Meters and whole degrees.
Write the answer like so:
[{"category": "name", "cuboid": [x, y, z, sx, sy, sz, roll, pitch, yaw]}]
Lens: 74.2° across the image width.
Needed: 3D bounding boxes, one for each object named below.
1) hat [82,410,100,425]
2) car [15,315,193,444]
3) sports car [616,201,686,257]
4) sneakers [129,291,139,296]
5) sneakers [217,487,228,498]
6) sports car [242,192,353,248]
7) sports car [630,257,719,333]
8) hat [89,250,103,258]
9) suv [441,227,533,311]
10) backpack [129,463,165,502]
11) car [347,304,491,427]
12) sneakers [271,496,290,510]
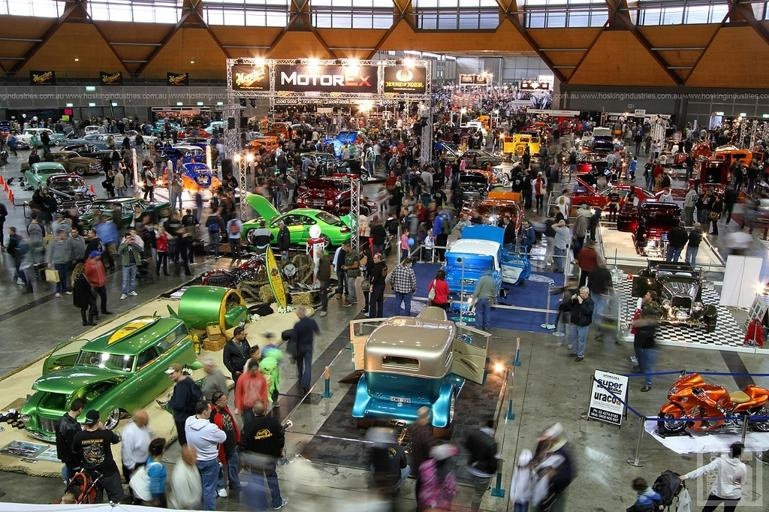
[{"category": "hat", "cuboid": [-4.794, 2.630, 8.330, 0.174, 0.233, 0.166, -3, 8, -33]}, {"category": "car", "cuboid": [-5.609, 2.396, 11.283, 2.006, 1.482, 3.731, 7, 20, 14]}, {"category": "sports car", "cuboid": [11.548, -1.515, 21.591, 2.001, 1.538, 3.489, 8, 22, 20]}, {"category": "sneakers", "cuboid": [-8.117, 1.190, 16.487, 0.209, 0.085, 0.116, 5, 16, 24]}, {"category": "sneakers", "cuboid": [-2.871, 4.176, 9.018, 0.181, 0.149, 0.102, -2, 8, -27]}, {"category": "sports car", "cuboid": [-3.483, -1.323, 19.871, 4.236, 1.927, 1.967, 3, 12, 3]}, {"category": "sports car", "cuboid": [9.097, 1.001, 15.988, 1.947, 1.563, 3.512, 4, 20, 22]}, {"category": "hat", "cuboid": [-8.320, -0.080, 14.548, 0.433, 0.162, 0.292, -4, 6, 18]}, {"category": "suv", "cuboid": [3.153, 0.503, 16.716, 2.113, 1.542, 3.234, 3, 28, 15]}, {"category": "backpack", "cuboid": [-3.730, 3.430, 7.776, 0.354, 0.579, 0.174, 7, 8, 36]}, {"category": "car", "cuboid": [0.830, 1.998, 10.889, 2.106, 1.240, 2.620, 4, 25, 15]}, {"category": "sneakers", "cuboid": [-1.796, 4.283, 8.787, 0.101, 0.130, 0.312, 9, 26, 13]}]
